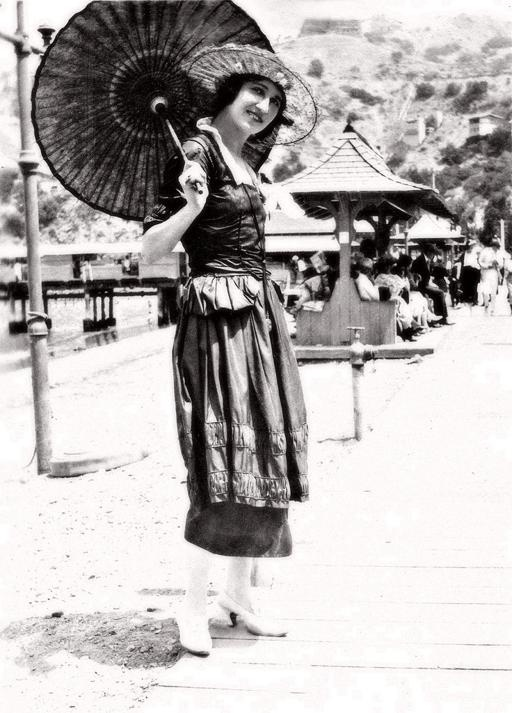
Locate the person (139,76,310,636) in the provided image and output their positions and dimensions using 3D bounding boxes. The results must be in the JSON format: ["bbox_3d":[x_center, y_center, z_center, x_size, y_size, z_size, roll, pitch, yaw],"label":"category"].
[{"bbox_3d":[-0.084,0.046,3.056,0.401,1.936,0.598,-2,5,36],"label":"person"}]
